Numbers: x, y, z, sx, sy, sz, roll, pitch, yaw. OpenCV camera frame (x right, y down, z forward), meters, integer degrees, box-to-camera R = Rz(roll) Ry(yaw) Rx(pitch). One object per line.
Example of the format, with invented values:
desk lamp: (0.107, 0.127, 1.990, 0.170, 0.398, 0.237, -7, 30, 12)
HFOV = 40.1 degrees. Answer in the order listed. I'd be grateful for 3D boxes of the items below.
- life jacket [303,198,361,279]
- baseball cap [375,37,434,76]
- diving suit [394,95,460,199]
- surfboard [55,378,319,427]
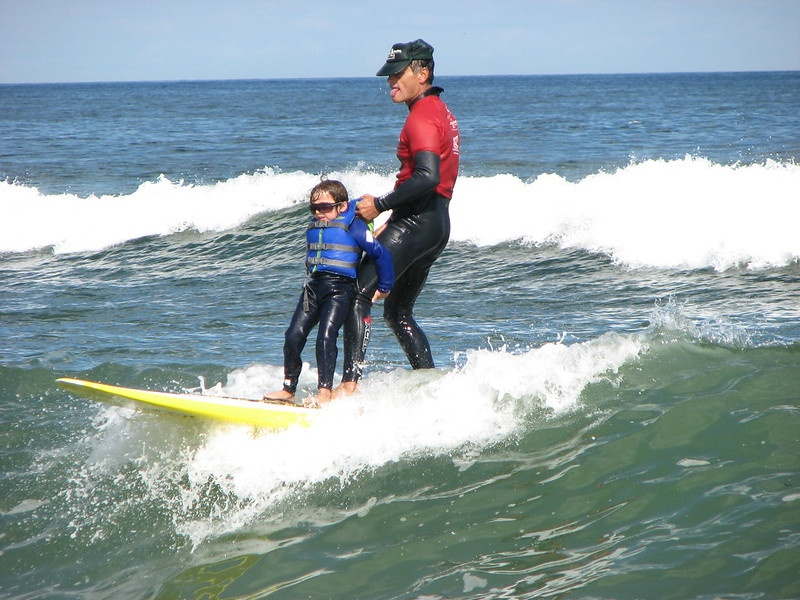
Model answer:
life jacket: (-0.687, -0.614, 10.955, 0.568, 0.762, 0.335, -2, 16, -1)
baseball cap: (0.008, -2.446, 10.939, 0.679, 0.278, 0.439, -20, 20, -29)
diving suit: (0.228, -1.536, 10.916, 0.556, 1.129, 0.686, 3, 16, 19)
surfboard: (-2.177, 1.053, 11.106, 2.551, 0.185, 0.301, 5, -31, 0)
